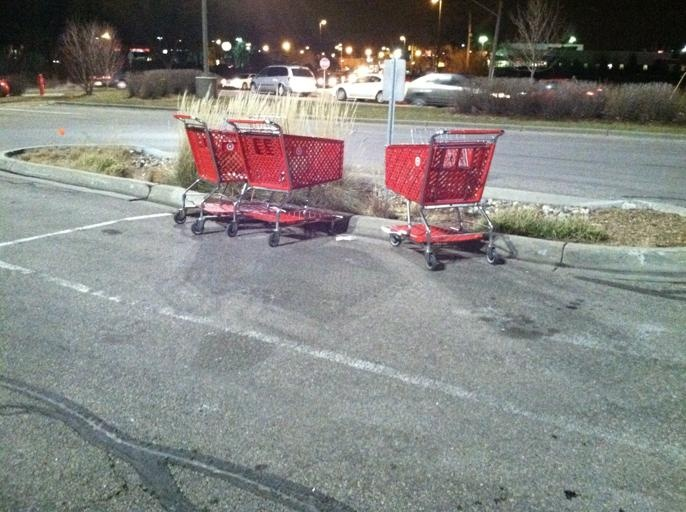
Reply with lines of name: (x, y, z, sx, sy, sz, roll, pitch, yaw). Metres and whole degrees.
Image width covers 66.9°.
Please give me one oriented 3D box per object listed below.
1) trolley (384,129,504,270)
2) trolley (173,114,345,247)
trolley: (1.281, -0.890, 7.151, 0.935, 1.790, 1.817, -5, 14, -19)
trolley: (-1.224, -1.242, 7.839, 2.364, 1.666, 1.827, 8, 20, 18)
